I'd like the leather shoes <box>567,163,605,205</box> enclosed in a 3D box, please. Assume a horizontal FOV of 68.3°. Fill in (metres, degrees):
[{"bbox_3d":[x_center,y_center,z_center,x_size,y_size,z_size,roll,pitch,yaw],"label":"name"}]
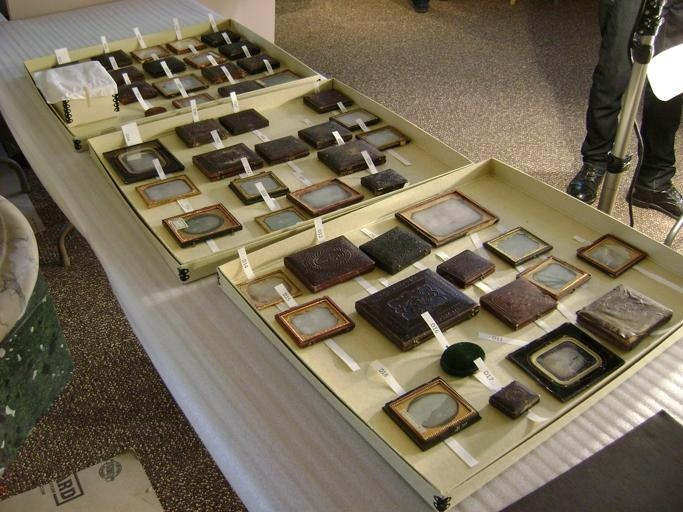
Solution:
[{"bbox_3d":[1.807,-0.574,3.661,0.377,0.143,0.179,-41,48,-21],"label":"leather shoes"}]
